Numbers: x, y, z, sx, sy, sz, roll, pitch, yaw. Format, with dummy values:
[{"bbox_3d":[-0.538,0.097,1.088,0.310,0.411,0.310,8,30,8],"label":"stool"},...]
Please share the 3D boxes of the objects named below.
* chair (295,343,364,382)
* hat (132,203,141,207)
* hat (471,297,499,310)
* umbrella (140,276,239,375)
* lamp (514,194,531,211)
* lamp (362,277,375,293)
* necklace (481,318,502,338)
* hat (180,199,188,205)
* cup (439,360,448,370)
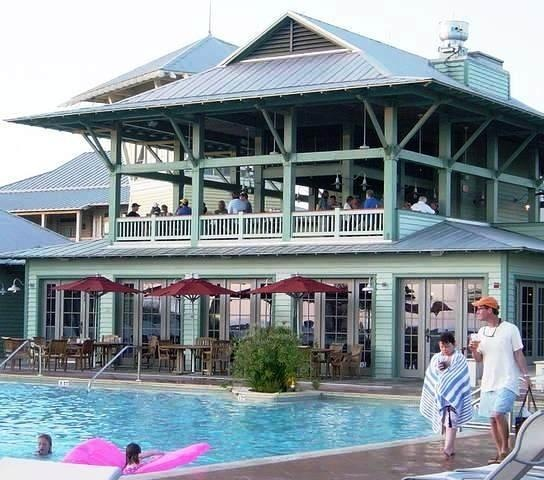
[{"bbox_3d":[1.417,3.174,27.621,1.023,0.635,1.620,2,0,-30],"label":"chair"},{"bbox_3d":[-4.271,-1.087,34.219,0.236,0.089,0.264,-4,1,43],"label":"hat"},{"bbox_3d":[3.023,0.886,15.334,0.435,0.180,0.278,4,0,13],"label":"hat"},{"bbox_3d":[-2.152,2.250,28.862,2.586,2.323,2.624,-2,-4,21],"label":"umbrella"},{"bbox_3d":[7.976,-1.186,34.922,0.336,0.654,0.909,-4,9,30],"label":"lamp"},{"bbox_3d":[2.475,1.188,28.166,0.342,0.361,0.358,4,-8,-16],"label":"lamp"},{"bbox_3d":[3.072,1.227,15.363,0.202,0.343,0.176,-1,-41,33],"label":"necklace"},{"bbox_3d":[-2.681,-1.138,32.862,0.213,0.092,0.293,1,-4,3],"label":"hat"},{"bbox_3d":[2.455,1.809,15.666,0.119,0.060,0.090,-5,6,-14],"label":"cup"}]
